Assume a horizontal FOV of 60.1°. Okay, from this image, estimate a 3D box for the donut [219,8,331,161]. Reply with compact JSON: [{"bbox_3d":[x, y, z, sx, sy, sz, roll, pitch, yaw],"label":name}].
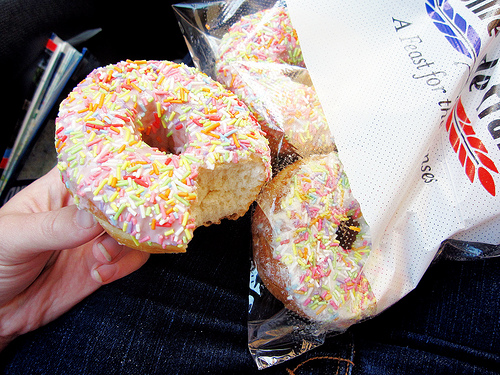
[{"bbox_3d":[0.088,-0.354,1.438,0.455,0.163,0.494,5,76,-15],"label":"donut"}]
